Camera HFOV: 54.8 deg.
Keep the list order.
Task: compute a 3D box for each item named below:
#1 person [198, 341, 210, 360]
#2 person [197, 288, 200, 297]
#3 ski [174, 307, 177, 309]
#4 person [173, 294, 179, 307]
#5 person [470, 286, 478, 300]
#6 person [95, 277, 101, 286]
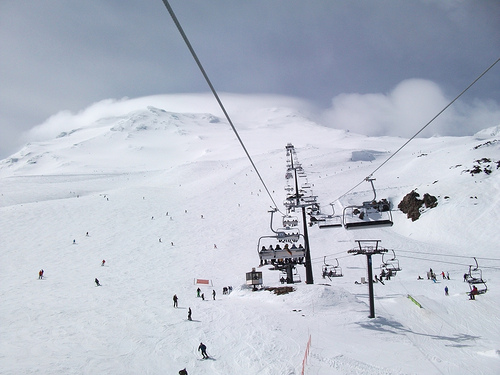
[{"bbox_3d":[-3.979,13.969,41.627,0.864,1.350,1.142,-4,12,-12],"label":"person"},{"bbox_3d":[-6.103,12.188,56.543,0.288,0.929,0.910,-3,11,-6],"label":"person"},{"bbox_3d":[-7.967,12.824,51.555,0.277,0.031,0.460,-5,10,-18],"label":"ski"},{"bbox_3d":[-8.098,12.204,52.193,0.430,1.260,0.999,-4,12,-10],"label":"person"},{"bbox_3d":[22.569,10.629,48.621,0.459,1.138,0.944,2,-12,25],"label":"person"},{"bbox_3d":[-18.523,11.398,58.306,0.447,1.018,0.627,-6,17,-12],"label":"person"}]
